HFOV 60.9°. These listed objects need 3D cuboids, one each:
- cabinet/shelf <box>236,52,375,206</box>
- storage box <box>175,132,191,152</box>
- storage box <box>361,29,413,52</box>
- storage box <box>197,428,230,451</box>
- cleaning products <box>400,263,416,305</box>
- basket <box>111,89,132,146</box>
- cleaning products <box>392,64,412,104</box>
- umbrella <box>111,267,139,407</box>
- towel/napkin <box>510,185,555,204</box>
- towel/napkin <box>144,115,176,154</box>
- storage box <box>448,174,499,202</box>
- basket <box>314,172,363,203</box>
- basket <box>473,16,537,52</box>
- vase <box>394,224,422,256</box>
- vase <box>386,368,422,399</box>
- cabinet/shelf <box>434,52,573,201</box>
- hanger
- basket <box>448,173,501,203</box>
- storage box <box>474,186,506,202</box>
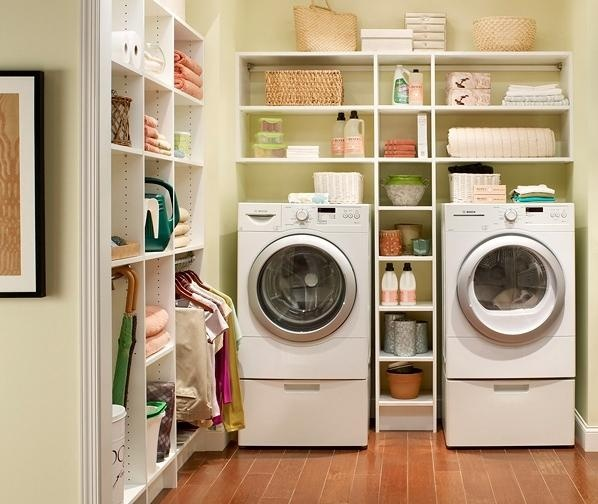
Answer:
[{"bbox_3d":[0.059,-0.870,3.413,0.942,1.196,0.360,0,8,2],"label":"cabinet/shelf"},{"bbox_3d":[-0.631,-0.604,2.826,0.102,0.124,0.108,-1,6,-3],"label":"storage box"},{"bbox_3d":[0.565,-1.376,3.303,0.324,0.164,0.050,-1,3,5],"label":"storage box"},{"bbox_3d":[-0.516,1.115,3.049,0.152,0.109,0.156,0,-4,2],"label":"storage box"},{"bbox_3d":[0.693,0.203,3.276,0.099,0.269,0.125,0,3,7],"label":"cleaning products"},{"bbox_3d":[-0.720,-0.530,2.067,0.050,0.192,0.119,0,3,16],"label":"basket"},{"bbox_3d":[0.664,-1.083,3.308,0.113,0.254,0.057,-2,3,-18],"label":"cleaning products"},{"bbox_3d":[-0.723,0.347,2.122,0.110,0.575,0.120,-1,3,-13],"label":"umbrella"},{"bbox_3d":[1.426,-0.357,3.116,0.240,0.104,0.111,0,3,23],"label":"towel/napkin"},{"bbox_3d":[-0.660,-0.555,2.391,0.210,0.096,0.296,-1,5,-16],"label":"towel/napkin"},{"bbox_3d":[1.084,-0.380,3.182,0.204,0.142,0.218,0,-2,-1],"label":"storage box"},{"bbox_3d":[0.250,-0.420,3.247,0.212,0.149,0.227,1,3,15],"label":"basket"},{"bbox_3d":[1.292,-1.390,3.230,0.260,0.129,0.280,0,4,9],"label":"basket"},{"bbox_3d":[0.724,-0.078,3.438,0.173,0.208,0.174,3,-4,-30],"label":"vase"},{"bbox_3d":[0.692,0.865,3.381,0.216,0.182,0.277,0,3,11],"label":"vase"},{"bbox_3d":[1.359,-0.840,3.323,0.885,1.123,0.344,0,-3,0],"label":"cabinet/shelf"},{"bbox_3d":[-0.531,0.201,2.822,0.275,0.401,0.121,1,4,44],"label":"hanger"},{"bbox_3d":[1.088,-0.368,3.213,0.206,0.142,0.219,0,-3,-1],"label":"basket"},{"bbox_3d":[1.161,-0.356,3.165,0.118,0.081,0.126,0,-2,3],"label":"storage box"}]
